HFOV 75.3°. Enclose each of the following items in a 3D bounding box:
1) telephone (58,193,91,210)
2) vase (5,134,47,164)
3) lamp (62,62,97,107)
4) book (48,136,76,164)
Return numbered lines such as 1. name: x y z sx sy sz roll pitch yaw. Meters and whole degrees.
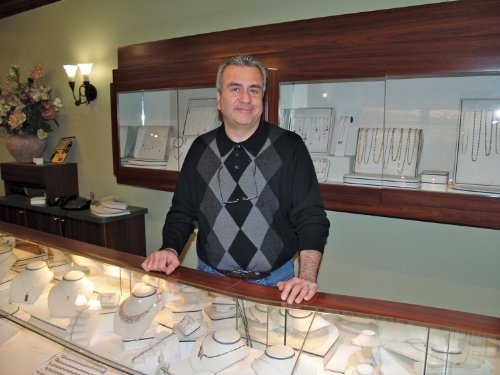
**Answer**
1. telephone: -1.795 0.168 3.348 0.196 0.074 0.204 4 9 7
2. vase: -2.559 -0.451 3.687 0.355 0.245 0.354 0 4 -22
3. lamp: -1.854 -1.123 3.592 0.321 0.385 0.266 0 9 5
4. book: -2.195 -0.440 3.791 0.266 0.373 0.097 11 -18 37
